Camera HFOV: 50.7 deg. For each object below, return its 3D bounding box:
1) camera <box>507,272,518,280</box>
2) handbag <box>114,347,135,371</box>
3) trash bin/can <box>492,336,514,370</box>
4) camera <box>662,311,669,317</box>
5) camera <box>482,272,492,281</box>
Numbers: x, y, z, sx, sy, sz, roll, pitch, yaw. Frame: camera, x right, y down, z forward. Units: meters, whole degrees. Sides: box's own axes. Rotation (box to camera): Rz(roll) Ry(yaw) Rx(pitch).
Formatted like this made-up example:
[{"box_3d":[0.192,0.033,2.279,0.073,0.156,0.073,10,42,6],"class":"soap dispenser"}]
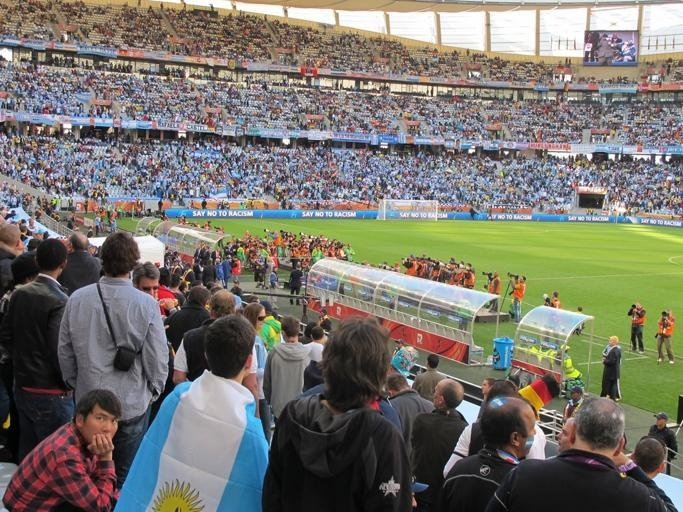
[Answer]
[{"box_3d":[6.870,0.800,29.090,0.294,0.301,0.484,-2,9,-44],"class":"camera"},{"box_3d":[-2.068,0.966,6.837,0.144,0.199,0.094,19,-18,-21],"class":"handbag"},{"box_3d":[4.263,2.566,19.102,0.516,0.890,0.546,6,9,20],"class":"trash bin/can"},{"box_3d":[8.951,1.578,19.895,0.113,0.222,0.206,-1,-6,16],"class":"camera"},{"box_3d":[6.097,0.853,30.322,0.105,0.406,0.375,0,-12,-18],"class":"camera"}]
